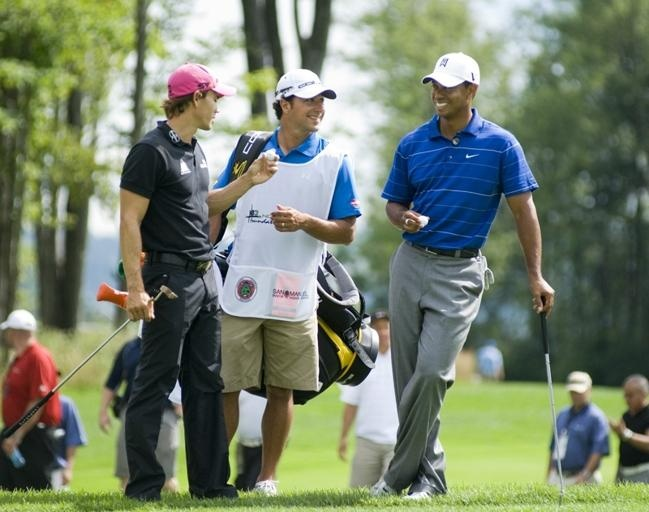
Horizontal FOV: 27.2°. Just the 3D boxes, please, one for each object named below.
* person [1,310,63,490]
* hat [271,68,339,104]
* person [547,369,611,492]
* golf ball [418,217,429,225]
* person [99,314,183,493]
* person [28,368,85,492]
[{"bbox_3d":[-4.253,2.144,19.243,0.866,2.596,0.801,2,5,42],"label":"person"},{"bbox_3d":[-0.228,-2.078,16.469,0.751,0.304,0.353,4,-2,-1],"label":"hat"},{"bbox_3d":[3.925,2.730,20.318,0.803,2.586,0.877,-2,1,-15],"label":"person"},{"bbox_3d":[1.177,-0.409,15.866,0.080,0.113,0.100,8,5,21],"label":"golf ball"},{"bbox_3d":[-2.698,2.258,19.330,1.166,3.126,1.103,2,4,27],"label":"person"},{"bbox_3d":[-3.886,2.664,19.994,0.607,1.484,0.603,2,4,37],"label":"person"}]
